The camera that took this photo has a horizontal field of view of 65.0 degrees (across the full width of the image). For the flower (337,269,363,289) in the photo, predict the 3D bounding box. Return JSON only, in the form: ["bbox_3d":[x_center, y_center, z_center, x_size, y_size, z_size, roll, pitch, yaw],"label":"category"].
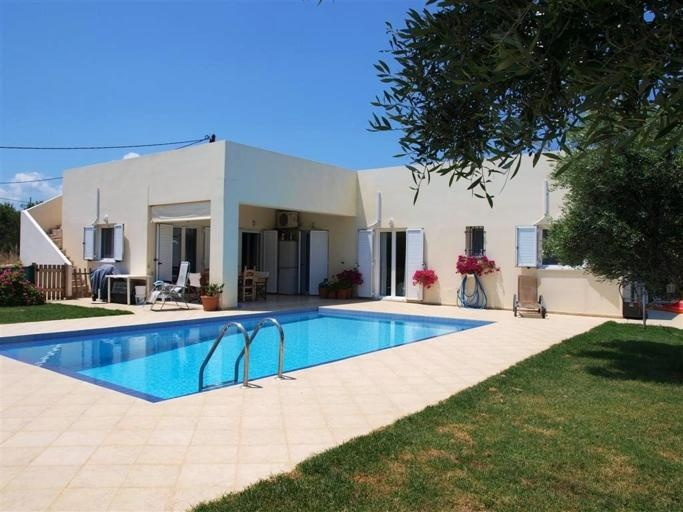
[{"bbox_3d":[0.278,0.720,16.484,0.594,0.561,0.613,-1,3,-12],"label":"flower"}]

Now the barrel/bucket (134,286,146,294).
[{"bbox_3d":[-5.204,0.918,13.813,0.211,0.168,0.204,-1,-5,0],"label":"barrel/bucket"}]

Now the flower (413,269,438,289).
[{"bbox_3d":[2.327,0.622,15.069,0.513,0.392,0.536,1,2,30],"label":"flower"}]

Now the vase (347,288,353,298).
[{"bbox_3d":[0.274,1.178,16.644,0.209,0.266,0.226,0,-4,6],"label":"vase"}]

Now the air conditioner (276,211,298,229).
[{"bbox_3d":[-1.821,-1.195,18.054,0.701,0.478,0.758,5,-3,-8],"label":"air conditioner"}]

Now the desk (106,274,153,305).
[{"bbox_3d":[-5.630,0.784,14.277,0.977,0.863,0.771,-5,-7,43],"label":"desk"}]

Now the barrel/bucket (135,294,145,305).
[{"bbox_3d":[-5.229,1.131,13.922,0.223,0.232,0.276,-3,-3,36],"label":"barrel/bucket"}]

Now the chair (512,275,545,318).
[{"bbox_3d":[4.467,0.934,12.809,0.556,0.786,1.176,-1,-6,12],"label":"chair"}]

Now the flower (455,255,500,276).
[{"bbox_3d":[3.564,0.245,14.077,0.684,0.395,0.587,0,2,-15],"label":"flower"}]

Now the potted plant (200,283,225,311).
[{"bbox_3d":[-3.103,0.966,12.784,0.439,0.608,0.489,1,3,9],"label":"potted plant"}]
